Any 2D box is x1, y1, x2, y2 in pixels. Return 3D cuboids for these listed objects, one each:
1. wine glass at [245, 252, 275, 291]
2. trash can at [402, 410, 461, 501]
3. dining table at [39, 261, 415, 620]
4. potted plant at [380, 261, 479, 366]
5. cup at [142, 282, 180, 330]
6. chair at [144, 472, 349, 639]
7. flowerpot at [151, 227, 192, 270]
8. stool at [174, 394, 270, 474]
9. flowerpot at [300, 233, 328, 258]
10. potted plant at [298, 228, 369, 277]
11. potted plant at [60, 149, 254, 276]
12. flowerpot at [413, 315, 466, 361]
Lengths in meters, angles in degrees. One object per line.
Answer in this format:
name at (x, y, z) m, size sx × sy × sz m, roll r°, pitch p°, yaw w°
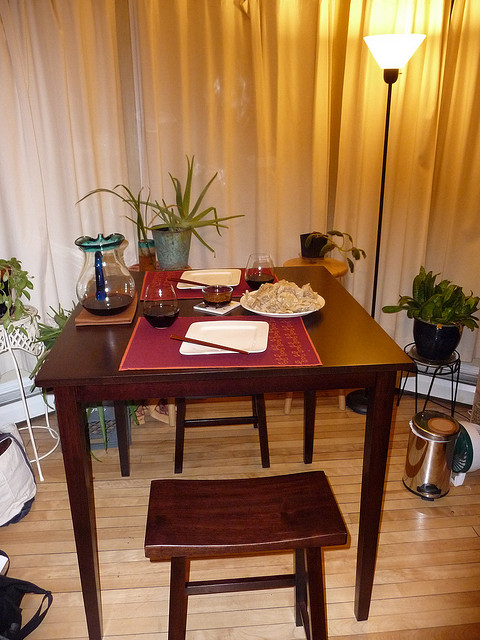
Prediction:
wine glass at (0.047, -0.139, 1.487) m, size 0.096 × 0.119 × 0.100 m, roll 0°, pitch 9°, yaw -2°
trash can at (0.760, 0.541, 1.935) m, size 0.179 × 0.354 × 0.180 m, roll 24°, pitch 36°, yaw 38°
dining table at (-0.030, 0.284, 1.701) m, size 1.088 × 0.961 × 1.083 m, roll -2°, pitch 28°, yaw -1°
potted plant at (0.860, -0.065, 2.273) m, size 0.454 × 0.437 × 0.453 m, roll 0°, pitch 11°, yaw 0°
cup at (-0.188, -0.032, 1.190) m, size 0.097 × 0.118 × 0.097 m, roll 0°, pitch 10°, yaw 0°
chair at (0.014, 0.605, 1.193) m, size 0.472 × 0.520 × 0.313 m, roll -2°, pitch 27°, yaw -3°
flowerpot at (-0.315, -0.311, 2.182) m, size 0.187 × 0.181 × 0.191 m, roll 14°, pitch 24°, yaw 37°
stool at (-0.084, 0.463, 2.356) m, size 0.458 × 0.434 × 0.453 m, roll -2°, pitch 7°, yaw -4°
flowerpot at (0.357, -0.361, 2.387) m, size 0.100 × 0.094 × 0.125 m, roll 2°, pitch 11°, yaw 8°
potted plant at (0.486, -0.398, 2.548) m, size 0.315 × 0.331 × 0.325 m, roll -3°, pitch 22°, yaw -6°
potted plant at (-0.283, -0.508, 2.504) m, size 0.758 × 0.648 × 0.861 m, roll 19°, pitch 33°, yaw 32°
flowerpot at (0.867, 0.090, 2.190) m, size 0.204 × 0.157 × 0.197 m, roll 1°, pitch 18°, yaw -1°
